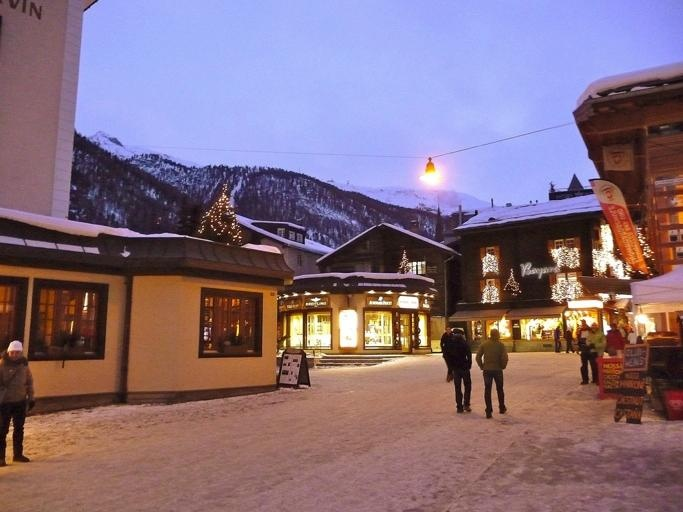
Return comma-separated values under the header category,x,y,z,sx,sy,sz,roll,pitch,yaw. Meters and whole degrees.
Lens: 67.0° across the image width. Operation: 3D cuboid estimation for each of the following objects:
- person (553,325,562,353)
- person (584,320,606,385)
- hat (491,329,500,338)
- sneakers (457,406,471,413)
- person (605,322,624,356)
category,x,y,z,sx,sy,sz,roll,pitch,yaw
person,16.117,6.203,38.612,0.373,1.908,1.418,-5,-10,18
person,8.483,3.220,17.081,0.535,1.990,1.297,-6,-11,24
hat,3.793,1.914,12.779,0.234,0.245,0.239,-5,-6,37
sneakers,3.015,3.764,12.697,0.269,0.158,0.498,-7,-11,24
person,9.210,2.864,17.451,0.531,0.957,1.618,-7,-11,26
